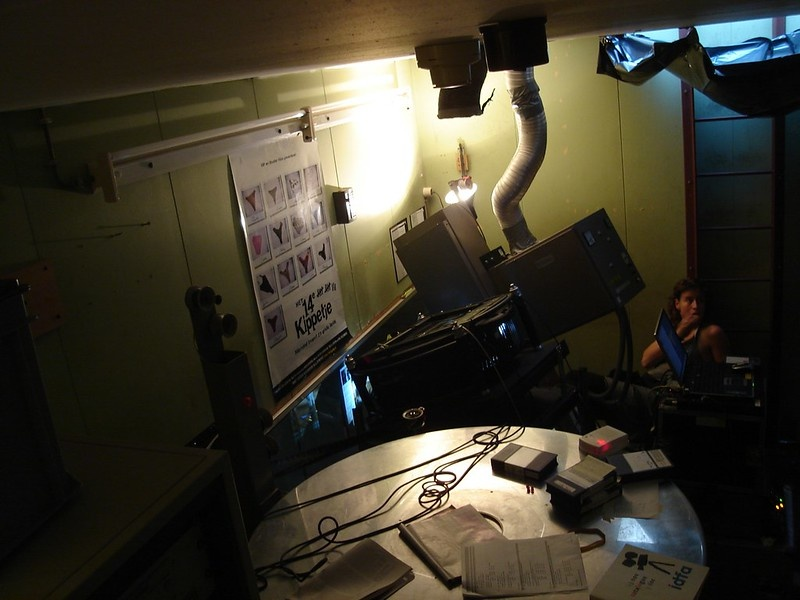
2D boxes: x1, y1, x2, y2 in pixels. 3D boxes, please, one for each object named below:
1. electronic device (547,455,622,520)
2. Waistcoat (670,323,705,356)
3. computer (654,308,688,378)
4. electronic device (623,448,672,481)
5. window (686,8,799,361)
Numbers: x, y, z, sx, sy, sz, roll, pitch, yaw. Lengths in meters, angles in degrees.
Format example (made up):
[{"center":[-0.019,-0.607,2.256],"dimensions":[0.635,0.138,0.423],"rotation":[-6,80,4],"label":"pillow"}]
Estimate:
[{"center":[0.863,0.841,2.750],"dimensions":[0.304,0.134,0.202],"rotation":[-22,28,-31],"label":"electronic device"},{"center":[2.377,0.317,4.817],"dimensions":[0.171,0.334,0.228],"rotation":[-1,-9,-36],"label":"Waistcoat"},{"center":[2.111,0.344,4.549],"dimensions":[0.291,0.283,0.447],"rotation":[-17,35,28],"label":"computer"},{"center":[1.230,0.802,2.896],"dimensions":[0.161,0.040,0.119],"rotation":[-7,23,-11],"label":"electronic device"},{"center":[3.078,-0.716,5.389],"dimensions":[0.801,2.569,0.286],"rotation":[-2,18,28],"label":"window"}]
